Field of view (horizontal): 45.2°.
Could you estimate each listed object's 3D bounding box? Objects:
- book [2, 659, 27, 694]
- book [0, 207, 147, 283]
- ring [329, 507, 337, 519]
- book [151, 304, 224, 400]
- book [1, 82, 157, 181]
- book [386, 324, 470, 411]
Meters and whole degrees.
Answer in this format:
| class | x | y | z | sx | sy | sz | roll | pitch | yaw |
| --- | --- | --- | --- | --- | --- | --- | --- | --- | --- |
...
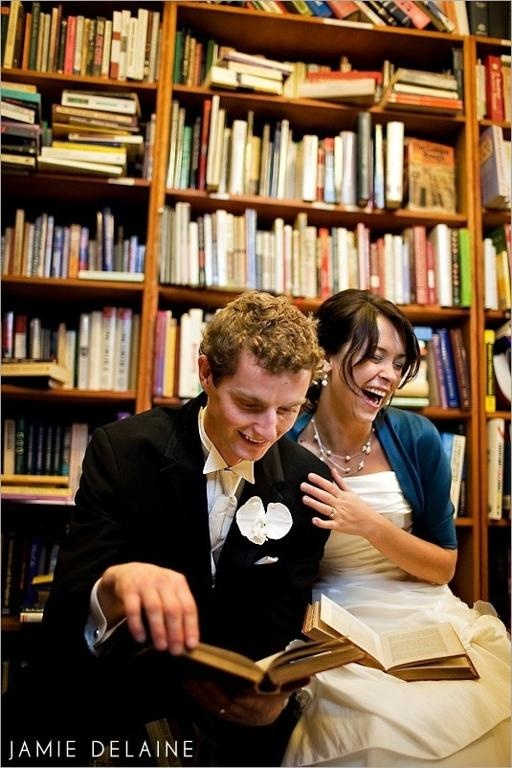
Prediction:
| class | x | y | z | sx | sy | sz | roll | pitch | yaw |
| --- | --- | --- | --- | --- | --- | --- | --- | --- | --- |
| book | -0.717 | 0.851 | 1.805 | 0.028 | 0.105 | 0.112 | 12 | -7 | -27 |
| book | -0.599 | -0.447 | 2.021 | 0.469 | 0.223 | 0.156 | 2 | 0 | -6 |
| ring | 0.168 | 0.279 | 1.335 | 0.018 | 0.024 | 0.010 | 1 | -15 | -9 |
| book | -0.252 | -0.089 | 2.092 | 0.278 | 0.384 | 0.273 | 2 | -8 | -5 |
| book | -0.579 | -0.808 | 1.974 | 0.355 | 0.123 | 0.344 | 3 | -6 | -5 |
| book | 0.614 | -0.044 | 2.271 | 0.252 | 0.338 | 0.350 | -1 | -6 | 6 |
